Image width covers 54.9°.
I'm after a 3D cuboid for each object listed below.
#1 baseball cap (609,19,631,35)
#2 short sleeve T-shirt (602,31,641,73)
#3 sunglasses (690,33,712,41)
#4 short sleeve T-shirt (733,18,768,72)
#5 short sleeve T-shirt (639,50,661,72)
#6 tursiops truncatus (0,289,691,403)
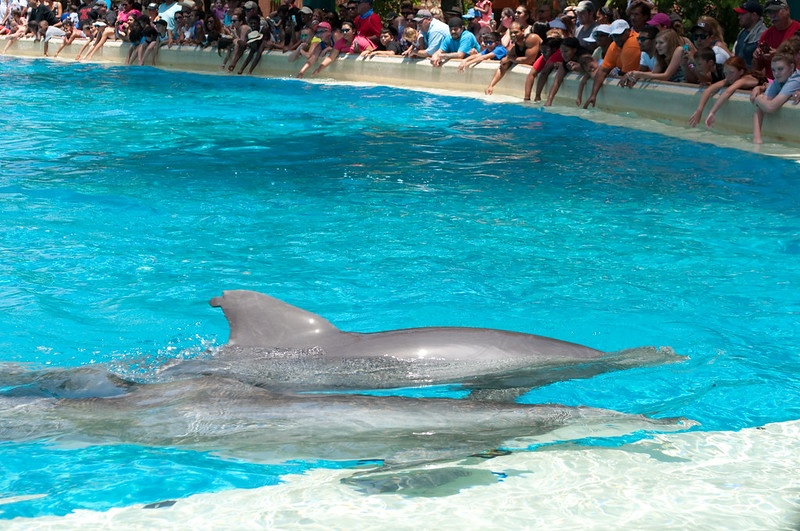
[{"bbox_3d":[3.460,-3.796,12.213,0.284,0.295,0.383,12,10,6],"label":"baseball cap"},{"bbox_3d":[3.628,-3.420,12.318,0.687,0.519,0.839,-12,21,-7],"label":"short sleeve T-shirt"},{"bbox_3d":[4.278,-3.280,10.991,0.185,0.037,0.194,8,14,44],"label":"sunglasses"},{"bbox_3d":[5.316,-3.339,11.654,0.615,0.652,0.652,-12,28,5],"label":"short sleeve T-shirt"},{"bbox_3d":[3.765,-3.152,11.808,0.107,0.297,0.327,9,9,-27],"label":"short sleeve T-shirt"},{"bbox_3d":[0.377,0.507,4.345,4.610,0.623,0.889,0,12,3],"label":"tursiops truncatus"}]
